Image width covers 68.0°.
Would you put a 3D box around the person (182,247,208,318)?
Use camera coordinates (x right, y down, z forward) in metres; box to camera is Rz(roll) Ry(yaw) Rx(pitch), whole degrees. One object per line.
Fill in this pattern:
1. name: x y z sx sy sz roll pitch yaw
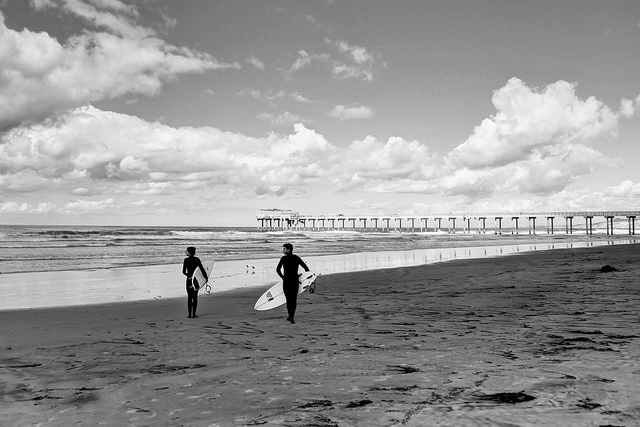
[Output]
1. person: -3.283 1.794 12.609 0.609 1.773 1.058 -2 -1 -15

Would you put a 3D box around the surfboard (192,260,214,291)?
1. surfboard: -3.414 1.850 13.852 0.214 0.489 1.819 -22 9 6

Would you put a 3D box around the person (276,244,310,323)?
1. person: -0.672 1.659 11.748 0.719 1.810 1.346 -2 -1 -3
